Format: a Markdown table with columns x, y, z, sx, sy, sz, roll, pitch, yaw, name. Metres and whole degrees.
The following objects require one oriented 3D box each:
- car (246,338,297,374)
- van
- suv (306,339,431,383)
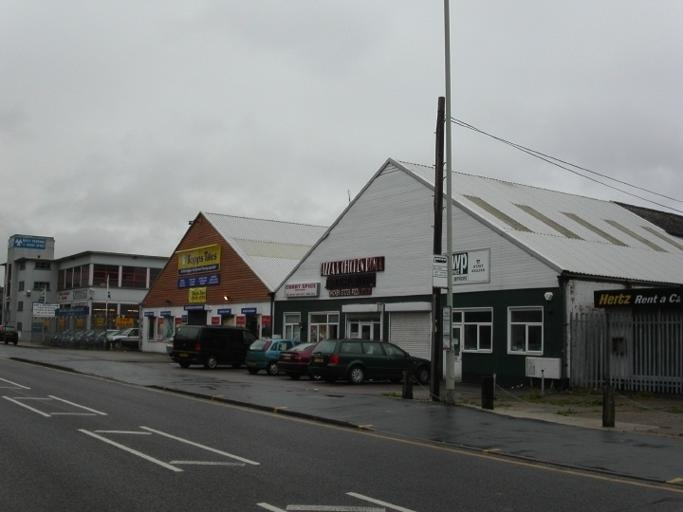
| x | y | z | sx | sy | sz | roll | pitch | yaw | name |
| --- | --- | --- | --- | --- | --- | --- | --- | --- | --- |
| -3.442 | 4.836 | 32.309 | 2.256 | 1.196 | 1.337 | -1 | -1 | -35 | car |
| -6.884 | 4.752 | 35.861 | 3.778 | 1.768 | 2.330 | 0 | -2 | -37 | van |
| 1.147 | 4.357 | 27.358 | 4.543 | 1.572 | 2.064 | 0 | -4 | -29 | suv |
